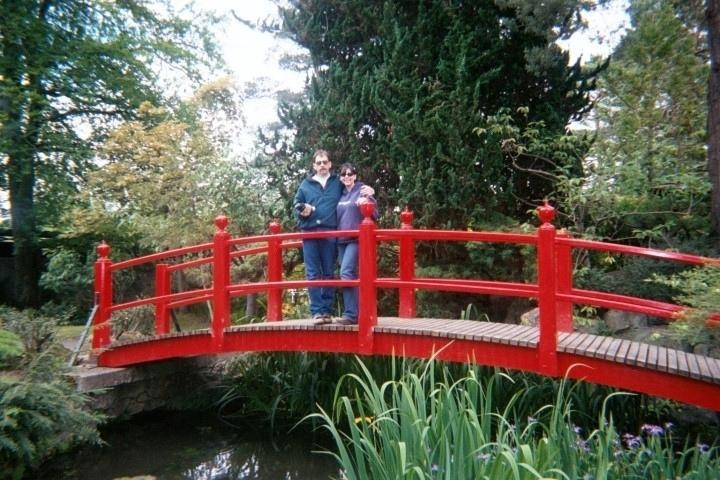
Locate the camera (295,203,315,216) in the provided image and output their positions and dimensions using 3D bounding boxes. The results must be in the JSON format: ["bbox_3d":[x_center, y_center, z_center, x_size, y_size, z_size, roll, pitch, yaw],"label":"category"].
[{"bbox_3d":[-0.700,-0.379,6.626,0.148,0.106,0.191,1,6,-21],"label":"camera"}]

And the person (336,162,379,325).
[{"bbox_3d":[-0.066,0.029,6.663,0.521,1.917,0.585,-3,-1,-4],"label":"person"}]
